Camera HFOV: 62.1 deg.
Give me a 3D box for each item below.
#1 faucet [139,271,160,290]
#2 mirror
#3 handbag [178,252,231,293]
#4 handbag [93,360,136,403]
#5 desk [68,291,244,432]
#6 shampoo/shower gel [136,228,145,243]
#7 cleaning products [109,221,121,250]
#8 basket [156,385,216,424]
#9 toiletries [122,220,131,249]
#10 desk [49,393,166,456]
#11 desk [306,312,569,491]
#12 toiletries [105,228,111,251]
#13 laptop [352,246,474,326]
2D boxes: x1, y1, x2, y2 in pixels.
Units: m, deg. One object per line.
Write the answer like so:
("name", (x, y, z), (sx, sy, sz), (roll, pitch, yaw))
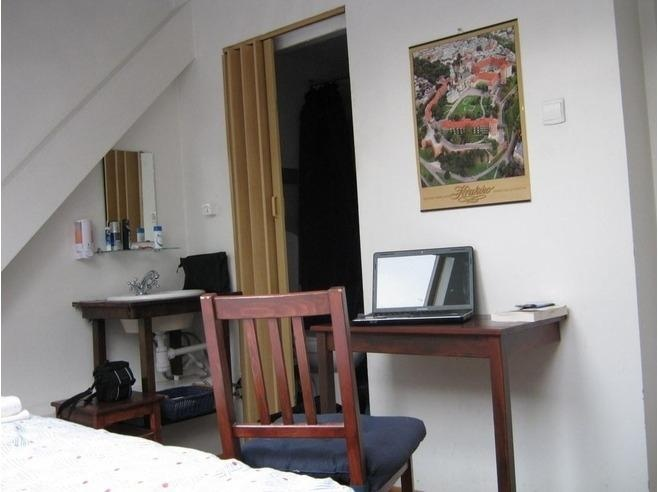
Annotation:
("faucet", (-1.277, 0.246, 3.908), (0.158, 0.213, 0.099), (-1, 5, -21))
("mirror", (-1.474, -0.434, 3.944), (0.262, 0.525, 0.015), (-6, 25, -28))
("handbag", (-0.901, 0.193, 3.988), (0.291, 0.328, 0.096), (1, 1, 36))
("handbag", (-1.305, 0.823, 3.338), (0.169, 0.240, 0.234), (-5, -2, 25))
("desk", (-1.197, 0.679, 3.866), (0.550, 0.829, 0.819), (-3, 11, 27))
("shampoo/shower gel", (-1.365, -0.083, 3.958), (0.053, 0.109, 0.078), (-3, -1, -21))
("cleaning products", (-1.500, -0.074, 3.831), (0.074, 0.198, 0.065), (-3, 0, -22))
("basket", (-0.913, 1.057, 3.659), (0.288, 0.144, 0.374), (-7, -10, 36))
("toiletries", (-1.447, -0.086, 3.892), (0.059, 0.206, 0.065), (-3, 0, -21))
("desk", (-1.345, 0.959, 3.348), (0.468, 0.498, 0.479), (-4, -6, 39))
("desk", (0.511, 0.889, 2.707), (1.073, 1.136, 0.825), (-3, -6, 31))
("toiletries", (-1.538, -0.052, 3.816), (0.059, 0.162, 0.024), (-3, 0, 34))
("laptop", (0.493, 0.204, 2.913), (0.582, 0.446, 0.393), (-2, -6, 22))
